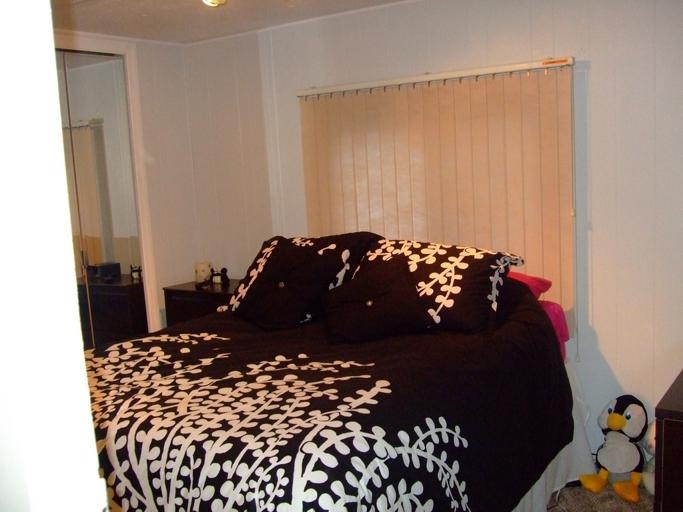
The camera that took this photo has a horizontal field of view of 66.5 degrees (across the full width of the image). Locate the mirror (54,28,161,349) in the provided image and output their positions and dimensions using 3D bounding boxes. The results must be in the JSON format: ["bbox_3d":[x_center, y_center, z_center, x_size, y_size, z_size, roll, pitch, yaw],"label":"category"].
[{"bbox_3d":[-1.640,-0.488,3.847,0.139,2.191,0.500,4,11,41],"label":"mirror"}]
